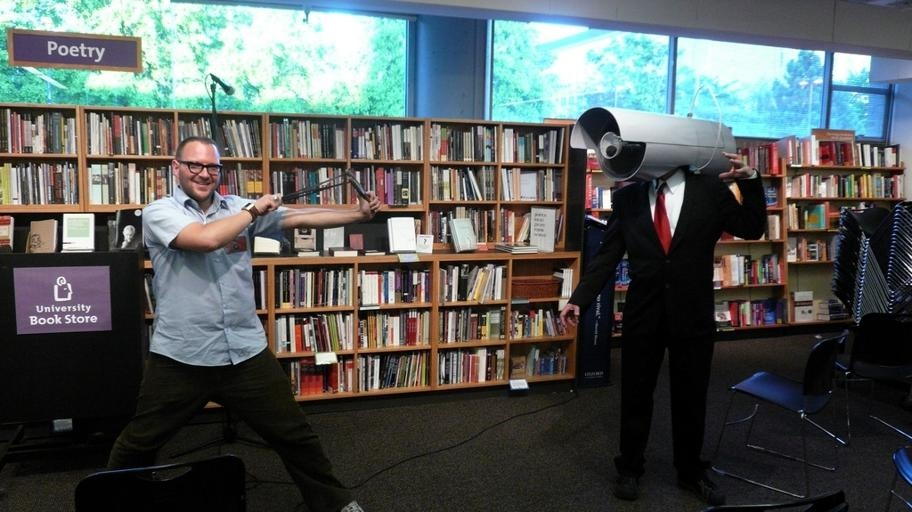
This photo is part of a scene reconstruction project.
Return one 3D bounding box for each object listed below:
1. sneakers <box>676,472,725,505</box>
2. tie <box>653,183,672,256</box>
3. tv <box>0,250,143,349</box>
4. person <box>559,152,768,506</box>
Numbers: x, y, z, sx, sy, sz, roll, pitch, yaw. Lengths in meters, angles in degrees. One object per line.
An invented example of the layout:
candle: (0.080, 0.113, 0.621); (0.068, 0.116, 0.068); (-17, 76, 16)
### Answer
sneakers: (2.257, 2.118, 6.191); (0.190, 0.189, 0.508); (-26, 18, -39)
tie: (1.877, -0.333, 6.011); (0.138, 0.590, 0.196); (-4, 9, -3)
tv: (-3.689, 0.269, 6.633); (1.682, 0.916, 0.784); (-2, 5, -7)
person: (1.931, 0.668, 6.086); (1.601, 3.115, 0.684); (0, 9, 18)
